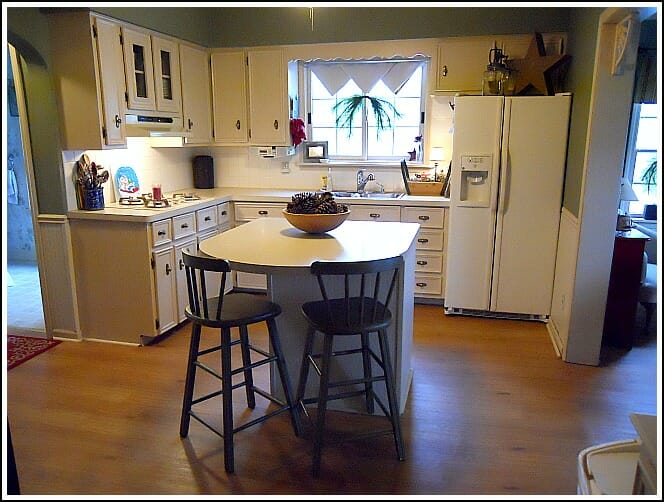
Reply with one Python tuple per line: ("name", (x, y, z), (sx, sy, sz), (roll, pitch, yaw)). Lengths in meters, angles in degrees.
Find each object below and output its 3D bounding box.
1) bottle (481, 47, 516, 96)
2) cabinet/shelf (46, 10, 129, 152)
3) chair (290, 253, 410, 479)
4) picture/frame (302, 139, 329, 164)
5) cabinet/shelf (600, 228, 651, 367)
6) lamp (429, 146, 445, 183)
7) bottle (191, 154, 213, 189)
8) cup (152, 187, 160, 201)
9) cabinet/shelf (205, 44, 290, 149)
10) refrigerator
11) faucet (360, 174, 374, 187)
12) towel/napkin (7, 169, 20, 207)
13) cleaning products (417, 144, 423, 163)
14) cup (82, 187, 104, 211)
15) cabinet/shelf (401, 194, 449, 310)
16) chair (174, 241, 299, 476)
("bottle", (1.570, -1.701, 4.582), (0.297, 0.461, 0.334), (2, 13, 11))
("cabinet/shelf", (-1.881, -1.338, 3.854), (0.524, 1.047, 0.280), (-8, 15, -27))
("chair", (0.107, 0.562, 2.855), (0.650, 1.184, 0.706), (-2, 13, -4))
("picture/frame", (-0.165, -1.112, 5.712), (0.415, 0.363, 0.209), (2, 9, 7))
("cabinet/shelf", (2.314, 0.379, 3.899), (0.351, 0.929, 0.929), (5, 12, 29))
("lamp", (1.111, -0.920, 5.152), (0.167, 0.352, 0.316), (2, 13, 11))
("bottle", (-1.494, -0.911, 5.650), (0.242, 0.376, 0.191), (-1, 13, 0))
("cup", (-1.573, -0.516, 4.401), (0.074, 0.117, 0.063), (-3, 14, -10))
("cabinet/shelf", (-0.884, -1.699, 5.227), (1.052, 1.247, 0.434), (1, 8, 5))
("refrigerator", (1.554, -0.375, 4.422), (0.944, 1.976, 0.259), (4, 15, 22))
("faucet", (0.381, -0.776, 5.433), (0.093, 0.175, 0.213), (9, 16, 37))
("towel/napkin", (-3.932, -0.788, 6.051), (0.119, 0.448, 0.236), (-13, 18, -41))
("cleaning products", (0.972, -1.096, 5.435), (0.055, 0.197, 0.098), (-11, 17, -36))
("cup", (-1.951, -0.426, 4.030), (0.185, 0.208, 0.185), (1, 5, 0))
("cabinet/shelf", (0.951, -0.060, 5.094), (0.561, 1.068, 0.605), (-1, 20, 4))
("chair", (-0.531, 0.585, 2.947), (0.583, 1.129, 0.546), (-9, 12, -21))
